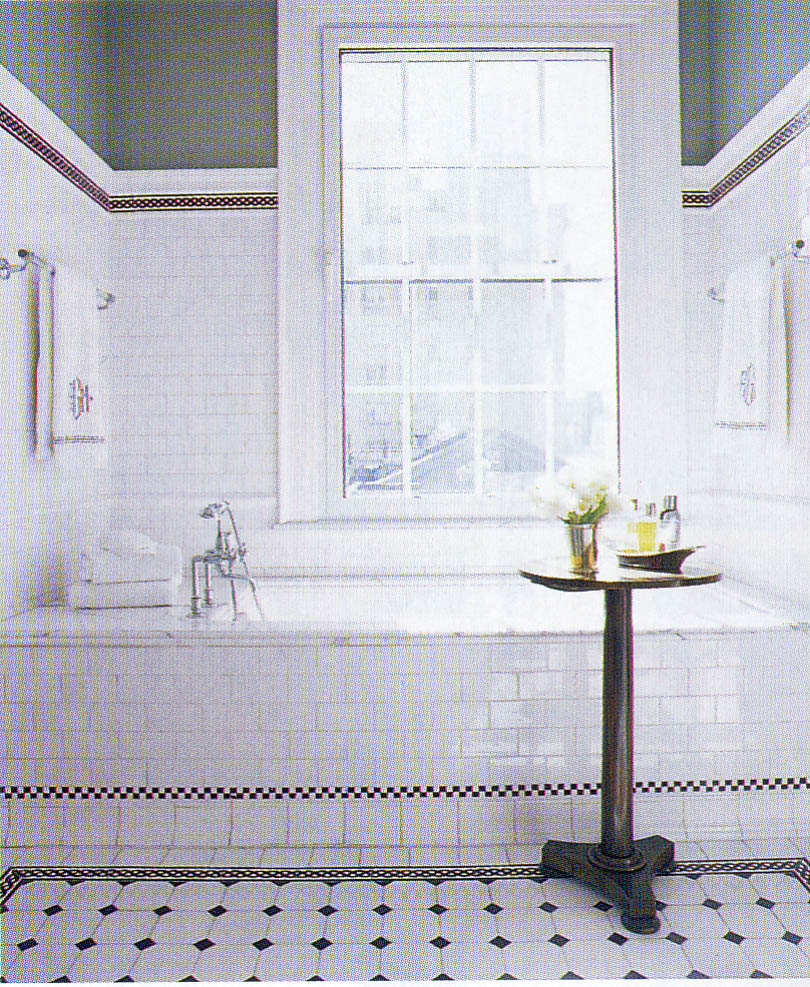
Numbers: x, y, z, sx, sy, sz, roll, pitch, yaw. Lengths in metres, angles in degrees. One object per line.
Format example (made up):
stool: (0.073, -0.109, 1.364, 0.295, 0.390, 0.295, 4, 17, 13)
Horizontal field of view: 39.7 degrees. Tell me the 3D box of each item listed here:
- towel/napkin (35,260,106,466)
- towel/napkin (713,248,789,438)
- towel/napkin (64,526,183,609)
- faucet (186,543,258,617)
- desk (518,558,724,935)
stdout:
towel/napkin: (-1.029, -0.410, 3.617, 0.146, 0.637, 0.408, 3, 14, 18)
towel/napkin: (1.141, -0.488, 3.666, 0.125, 0.575, 0.381, -4, 14, -11)
towel/napkin: (-0.853, 0.245, 3.552, 0.340, 0.208, 0.245, -4, 15, -10)
faucet: (-0.584, 0.295, 3.815, 0.211, 0.227, 0.203, -1, 2, -1)
desk: (0.558, 0.661, 3.125, 0.705, 1.120, 0.767, -1, -6, 5)
